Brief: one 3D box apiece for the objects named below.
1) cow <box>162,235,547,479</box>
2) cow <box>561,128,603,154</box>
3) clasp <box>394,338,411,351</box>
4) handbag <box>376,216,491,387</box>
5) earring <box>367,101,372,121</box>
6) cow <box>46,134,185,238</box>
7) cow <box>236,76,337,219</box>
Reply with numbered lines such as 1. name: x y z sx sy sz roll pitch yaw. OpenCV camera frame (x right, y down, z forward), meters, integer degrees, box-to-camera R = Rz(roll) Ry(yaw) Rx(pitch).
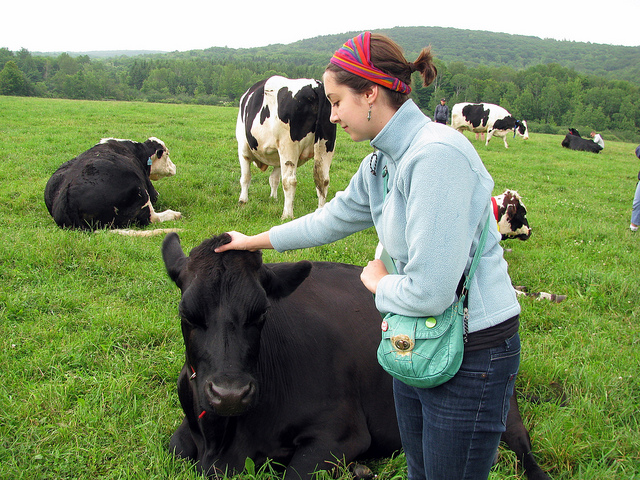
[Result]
1. cow: 0.546 1.265 5.089 1.572 1.934 4.133 -8 -14 40
2. cow: 16.285 -6.000 30.731 1.015 1.785 3.136 17 16 39
3. clasp: 0.533 0.676 3.241 0.073 0.083 0.072 4 2 44
4. handbag: 0.631 0.257 3.237 0.528 1.433 0.437 7 22 27
5. earring: 0.337 -0.860 3.412 0.028 0.107 0.007 -3 15 -12
6. cow: -4.136 -0.780 10.600 2.320 1.745 3.628 4 11 -4
7. cow: -1.127 -2.228 11.848 1.665 2.911 3.925 -5 13 -35
